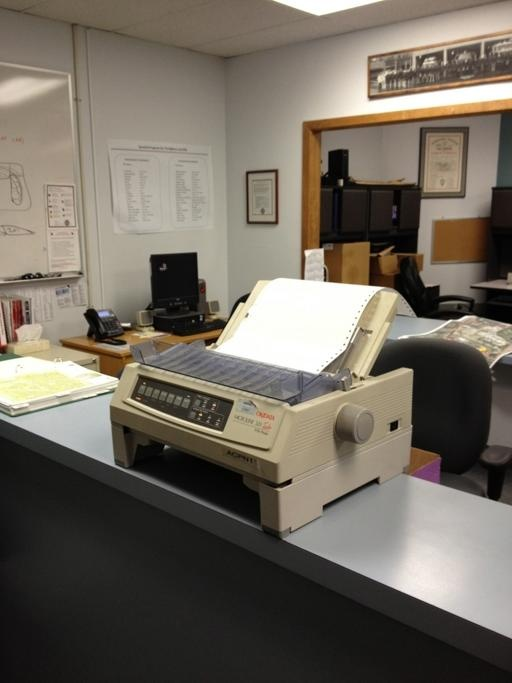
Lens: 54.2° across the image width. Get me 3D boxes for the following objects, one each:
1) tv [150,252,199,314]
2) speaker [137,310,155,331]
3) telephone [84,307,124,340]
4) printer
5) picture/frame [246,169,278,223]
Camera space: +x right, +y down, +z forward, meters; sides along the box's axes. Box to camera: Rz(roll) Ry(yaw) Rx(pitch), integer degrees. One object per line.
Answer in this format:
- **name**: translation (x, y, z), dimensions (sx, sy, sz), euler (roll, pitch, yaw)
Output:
- **tv**: translation (-0.577, -0.409, 3.512), dimensions (0.401, 0.407, 0.142), euler (-8, 11, -43)
- **speaker**: translation (-0.782, -0.153, 3.597), dimensions (0.136, 0.171, 0.120), euler (7, 13, 36)
- **telephone**: translation (-0.976, -0.124, 3.317), dimensions (0.206, 0.237, 0.240), euler (1, 8, 30)
- **printer**: translation (0.033, 0.078, 0.897), dimensions (0.459, 0.346, 0.430), euler (7, 12, 42)
- **picture/frame**: translation (0.060, -1.175, 4.013), dimensions (0.420, 0.557, 0.024), euler (5, 8, 40)
